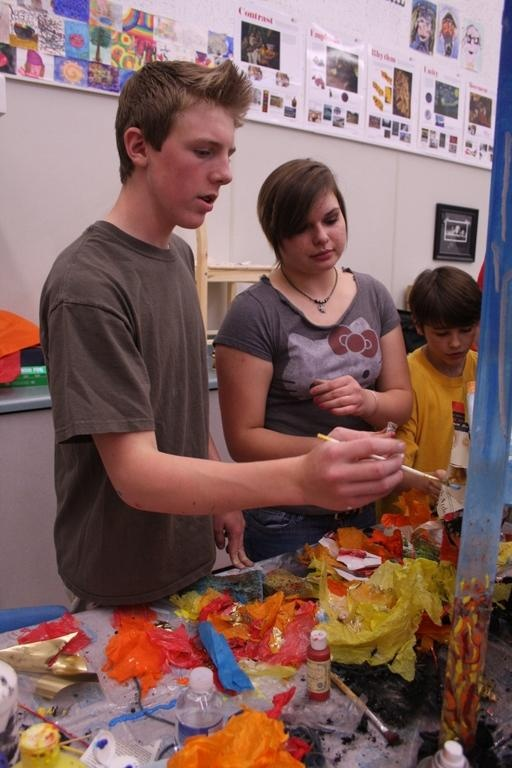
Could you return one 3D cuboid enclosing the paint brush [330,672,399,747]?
[{"bbox_3d":[0.109,0.324,0.577,0.017,0.016,0.133,24,-1,-14],"label":"paint brush"}]

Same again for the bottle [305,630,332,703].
[{"bbox_3d":[0.066,0.297,0.586,0.026,0.068,0.038,1,9,7],"label":"bottle"}]
